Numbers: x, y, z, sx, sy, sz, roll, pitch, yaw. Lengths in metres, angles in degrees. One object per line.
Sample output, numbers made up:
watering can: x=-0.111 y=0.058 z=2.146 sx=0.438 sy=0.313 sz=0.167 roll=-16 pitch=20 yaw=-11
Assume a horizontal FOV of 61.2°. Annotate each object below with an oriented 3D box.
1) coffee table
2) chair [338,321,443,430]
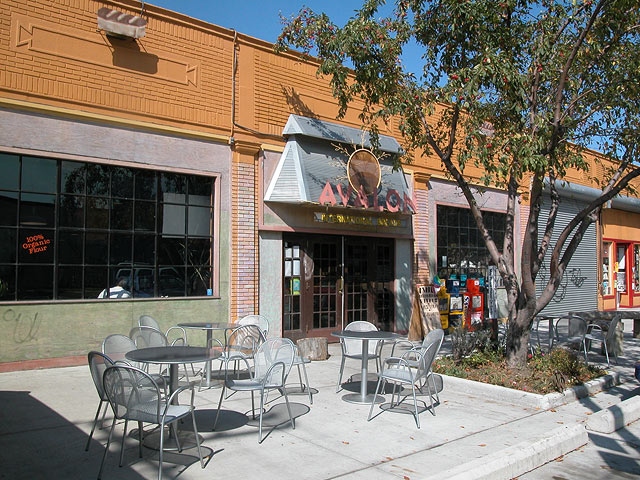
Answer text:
coffee table: x=0.761 y=2.179 z=9.334 sx=0.952 sy=1.079 sz=1.021 roll=0 pitch=0 yaw=-22
chair: x=1.432 y=2.203 z=9.187 sx=1.217 sy=2.198 sz=1.229 roll=1 pitch=-2 yaw=23
